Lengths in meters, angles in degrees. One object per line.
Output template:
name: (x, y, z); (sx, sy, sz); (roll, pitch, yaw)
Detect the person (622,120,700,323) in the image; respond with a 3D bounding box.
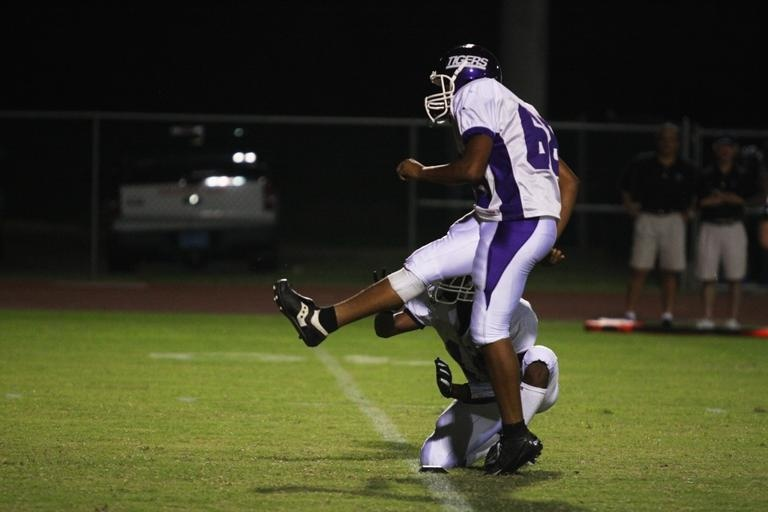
person: (3.648, -0.445, 14.222); (0.954, 2.636, 1.199); (0, 2, 14)

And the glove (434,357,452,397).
glove: (0.490, 0.963, 8.698); (0.159, 0.330, 0.106); (5, -16, -30)

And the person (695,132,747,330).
person: (4.472, -0.325, 14.283); (0.620, 2.515, 0.888); (0, 2, 18)
